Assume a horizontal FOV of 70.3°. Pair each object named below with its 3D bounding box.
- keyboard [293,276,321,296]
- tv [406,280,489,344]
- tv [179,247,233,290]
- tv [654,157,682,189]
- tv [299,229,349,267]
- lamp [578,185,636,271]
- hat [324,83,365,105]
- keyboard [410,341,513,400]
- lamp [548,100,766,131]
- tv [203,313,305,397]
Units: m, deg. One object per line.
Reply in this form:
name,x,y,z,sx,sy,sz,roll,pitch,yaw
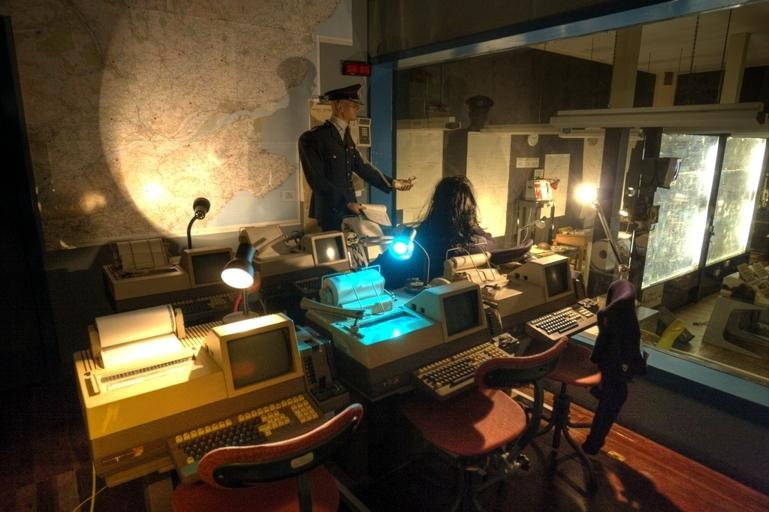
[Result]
keyboard,-0.681,0.270,4.861,0.232,0.118,0.274,-6,15,-6
tv,0.496,0.412,4.353,0.497,0.355,0.467,3,12,44
tv,-1.534,0.072,4.706,0.374,0.263,0.368,-6,10,-41
tv,2.700,-0.816,5.223,0.197,0.270,0.145,-17,20,-39
tv,-0.570,-0.093,5.086,0.352,0.271,0.360,-11,13,-39
lamp,2.091,-0.276,5.213,0.472,0.869,0.608,3,17,24
hat,-0.485,-1.725,5.793,0.379,0.153,0.323,7,21,21
keyboard,0.605,0.859,4.142,0.780,0.188,0.284,-12,17,-29
lamp,2.346,-1.201,4.712,1.562,0.197,0.382,9,20,41
tv,-0.922,0.649,3.836,0.466,0.381,0.648,-13,9,-30
